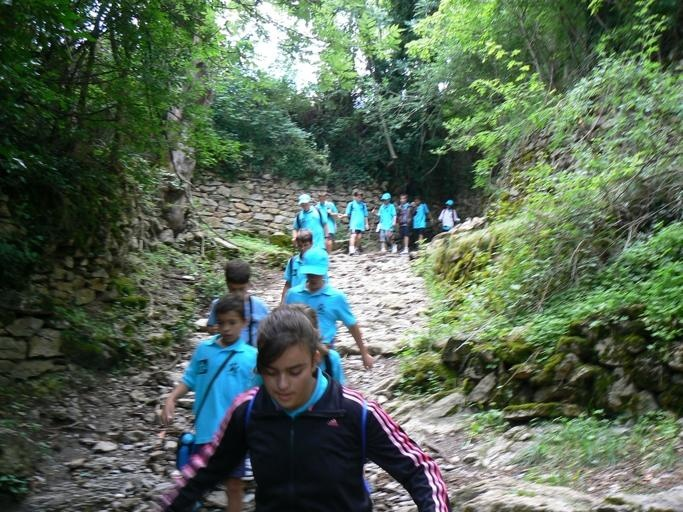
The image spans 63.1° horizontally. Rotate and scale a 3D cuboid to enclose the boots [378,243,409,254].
[{"bbox_3d":[1.594,-0.213,17.012,0.598,0.236,0.743,-1,-4,5],"label":"boots"}]
